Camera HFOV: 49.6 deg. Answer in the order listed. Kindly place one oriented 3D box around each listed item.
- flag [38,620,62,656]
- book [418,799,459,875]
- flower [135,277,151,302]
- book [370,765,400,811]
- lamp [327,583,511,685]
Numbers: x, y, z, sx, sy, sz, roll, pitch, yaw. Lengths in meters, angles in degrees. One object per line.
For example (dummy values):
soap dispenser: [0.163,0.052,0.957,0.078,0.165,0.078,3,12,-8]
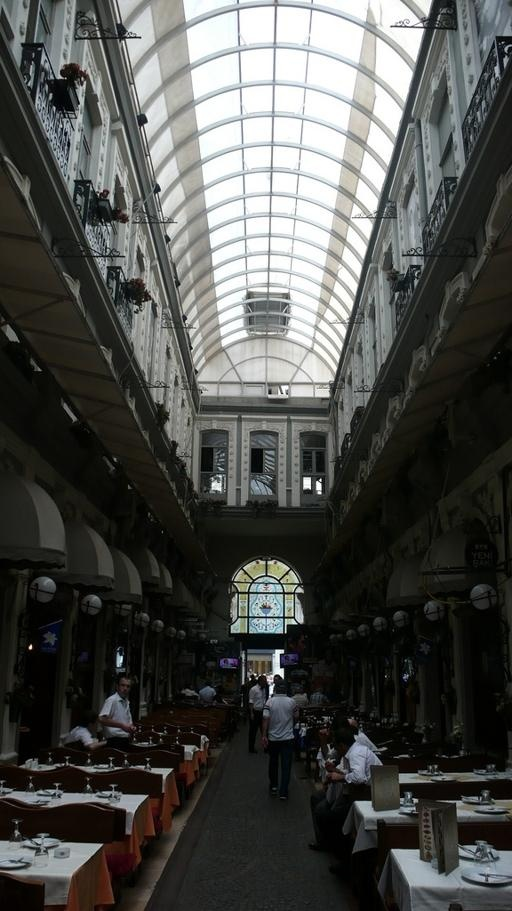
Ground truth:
flag: [-3.279,2.853,8.763,0.307,0.475,0.240,5,-11,-12]
book: [0.862,1.816,2.629,0.111,0.392,0.328,-3,-9,24]
flower: [-2.364,-3.518,11.683,0.263,0.540,0.608,3,-11,-3]
book: [1.017,2.569,4.284,0.267,0.341,0.142,6,-11,-19]
lamp: [3.380,3.800,12.149,1.282,2.134,5.680,4,-24,-9]
